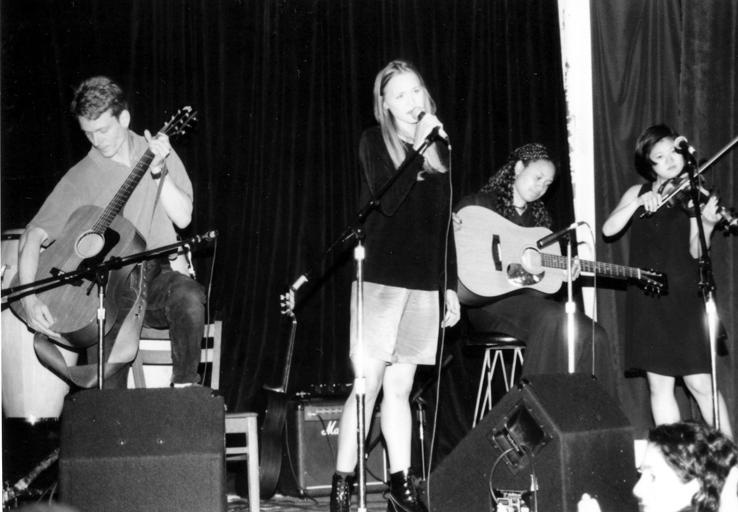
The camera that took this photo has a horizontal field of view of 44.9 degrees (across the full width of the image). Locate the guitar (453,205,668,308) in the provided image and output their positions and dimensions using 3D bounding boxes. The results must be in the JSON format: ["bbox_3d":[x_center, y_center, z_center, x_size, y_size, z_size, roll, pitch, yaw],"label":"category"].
[{"bbox_3d":[1.220,0.021,5.885,1.415,0.660,0.206,7,-15,-13],"label":"guitar"}]

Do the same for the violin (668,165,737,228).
[{"bbox_3d":[2.101,-0.293,5.642,0.261,0.528,0.143,-33,-23,4],"label":"violin"}]

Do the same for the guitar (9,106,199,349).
[{"bbox_3d":[-1.585,-0.171,5.213,1.062,1.369,0.674,3,-14,-9],"label":"guitar"}]

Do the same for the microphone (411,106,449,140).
[{"bbox_3d":[0.299,-0.725,4.703,0.092,0.099,0.332,3,32,-30],"label":"microphone"}]
